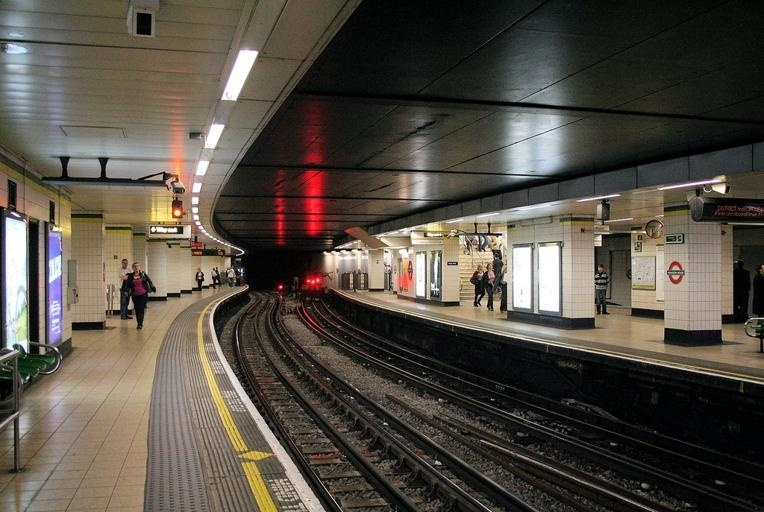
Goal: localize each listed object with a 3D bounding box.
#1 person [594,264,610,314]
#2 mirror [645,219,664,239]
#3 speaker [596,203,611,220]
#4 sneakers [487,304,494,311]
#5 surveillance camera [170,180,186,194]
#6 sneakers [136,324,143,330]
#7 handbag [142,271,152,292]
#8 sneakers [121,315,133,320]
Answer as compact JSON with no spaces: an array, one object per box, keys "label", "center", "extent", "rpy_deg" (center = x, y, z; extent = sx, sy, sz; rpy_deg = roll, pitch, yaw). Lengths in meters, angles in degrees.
[{"label":"person","center":[7.408,1.168,17.908],"extent":[0.366,1.679,1.457],"rpy_deg":[-1,-2,23]},{"label":"mirror","center":[8.131,-0.843,15.792],"extent":[0.422,0.521,0.424],"rpy_deg":[-1,-2,28]},{"label":"speaker","center":[5.110,-1.033,12.239],"extent":[0.213,0.388,0.357],"rpy_deg":[-1,-2,11]},{"label":"sneakers","center":[4.232,2.029,20.699],"extent":[0.210,0.213,0.207],"rpy_deg":[2,-3,35]},{"label":"surveillance camera","center":[-4.083,-1.379,10.654],"extent":[0.264,0.303,0.344],"rpy_deg":[-1,10,-10]},{"label":"sneakers","center":[-7.117,2.088,15.556],"extent":[0.221,0.199,0.125],"rpy_deg":[0,3,-27]},{"label":"handbag","center":[-6.546,0.736,14.825],"extent":[0.265,0.540,1.078],"rpy_deg":[1,-3,-24]},{"label":"sneakers","center":[-8.811,2.144,18.290],"extent":[0.412,0.160,0.127],"rpy_deg":[1,-4,-13]}]
